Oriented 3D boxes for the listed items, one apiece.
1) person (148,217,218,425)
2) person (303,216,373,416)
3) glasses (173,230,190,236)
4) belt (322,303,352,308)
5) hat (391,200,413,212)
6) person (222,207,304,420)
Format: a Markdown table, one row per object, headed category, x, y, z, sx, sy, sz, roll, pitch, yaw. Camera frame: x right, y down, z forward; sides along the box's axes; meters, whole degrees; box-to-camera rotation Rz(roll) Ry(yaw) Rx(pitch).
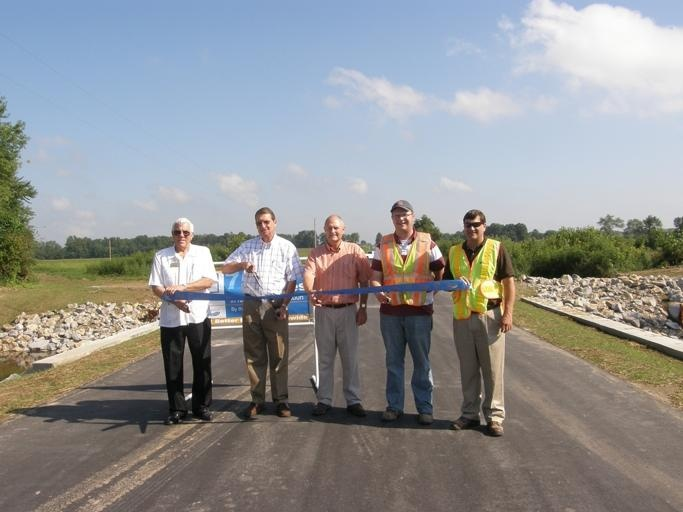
| category | x | y | z | sx | sy | sz | roll | pitch | yaw |
| --- | --- | --- | --- | --- | --- | --- | --- | --- | --- |
| person | -2.278 | 0.932 | 7.256 | 0.893 | 2.935 | 0.645 | -2 | 4 | -18 |
| person | -0.058 | 0.887 | 7.507 | 0.996 | 2.968 | 0.845 | 0 | 4 | 8 |
| glasses | -2.318 | -0.326 | 7.195 | 0.242 | 0.098 | 0.111 | -1 | 4 | -9 |
| belt | -0.062 | 0.740 | 7.450 | 0.430 | 0.082 | 0.065 | -1 | 4 | 1 |
| hat | 0.830 | -0.689 | 6.883 | 0.272 | 0.141 | 0.407 | 0 | 4 | 6 |
| person | -1.127 | 0.816 | 7.522 | 1.045 | 3.054 | 0.684 | -1 | 4 | -5 |
